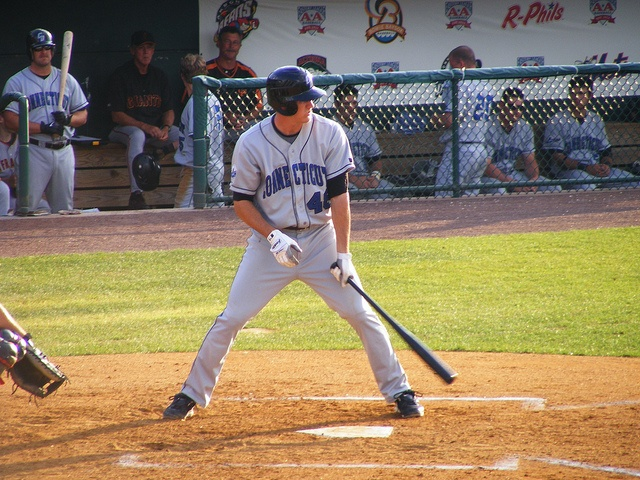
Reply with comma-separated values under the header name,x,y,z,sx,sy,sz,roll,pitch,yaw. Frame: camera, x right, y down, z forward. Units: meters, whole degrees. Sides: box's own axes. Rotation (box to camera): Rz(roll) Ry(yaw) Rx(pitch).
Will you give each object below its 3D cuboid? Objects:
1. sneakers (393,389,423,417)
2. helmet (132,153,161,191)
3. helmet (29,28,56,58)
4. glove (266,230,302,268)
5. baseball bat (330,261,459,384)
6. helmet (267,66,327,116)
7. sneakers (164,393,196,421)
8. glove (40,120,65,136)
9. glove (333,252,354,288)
name,x,y,z,sx,sy,sz,roll,pitch,yaw
sneakers,0.579,1.070,6.771,0.138,0.092,0.230,-1,-2,-18
helmet,-1.768,-0.701,10.647,0.401,0.335,0.113,1,21,27
helmet,-2.541,-1.795,9.400,0.227,0.257,0.240,-1,6,-15
glove,-0.235,0.054,6.613,0.115,0.271,0.196,-45,-14,-31
baseball bat,0.541,0.637,7.540,1.441,0.152,0.191,30,-22,13
helmet,-0.172,-0.973,6.692,0.436,0.242,0.272,-3,18,4
sneakers,-0.914,1.094,6.750,0.303,0.094,0.126,-16,-2,33
glove,-2.457,-1.025,9.476,0.216,0.130,0.105,1,6,1
glove,0.161,0.193,6.702,0.174,0.219,0.123,-1,7,-20
